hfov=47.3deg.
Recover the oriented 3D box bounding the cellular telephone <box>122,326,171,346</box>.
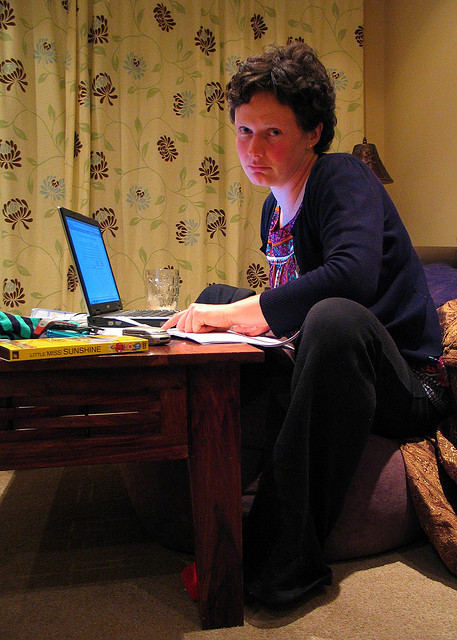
[{"bbox_3d":[-0.121,0.015,0.795,0.034,0.018,0.069,0,5,-37],"label":"cellular telephone"}]

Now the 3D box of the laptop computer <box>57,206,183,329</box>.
[{"bbox_3d":[-0.271,-0.137,1.534,0.373,0.273,0.408,7,5,-5],"label":"laptop computer"}]

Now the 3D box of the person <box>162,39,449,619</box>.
[{"bbox_3d":[0.104,-0.081,1.092,0.541,0.982,0.531,-3,1,44],"label":"person"}]

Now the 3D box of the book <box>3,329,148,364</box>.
[{"bbox_3d":[-0.224,0.032,0.742,0.180,0.040,0.234,-3,0,-23],"label":"book"}]

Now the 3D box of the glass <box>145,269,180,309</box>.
[{"bbox_3d":[-0.247,-0.117,1.953,0.135,0.145,0.134,1,4,43],"label":"glass"}]

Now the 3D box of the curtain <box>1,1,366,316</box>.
[{"bbox_3d":[-0.327,-0.671,2.103,1.765,1.668,0.127,1,-1,-11],"label":"curtain"}]
